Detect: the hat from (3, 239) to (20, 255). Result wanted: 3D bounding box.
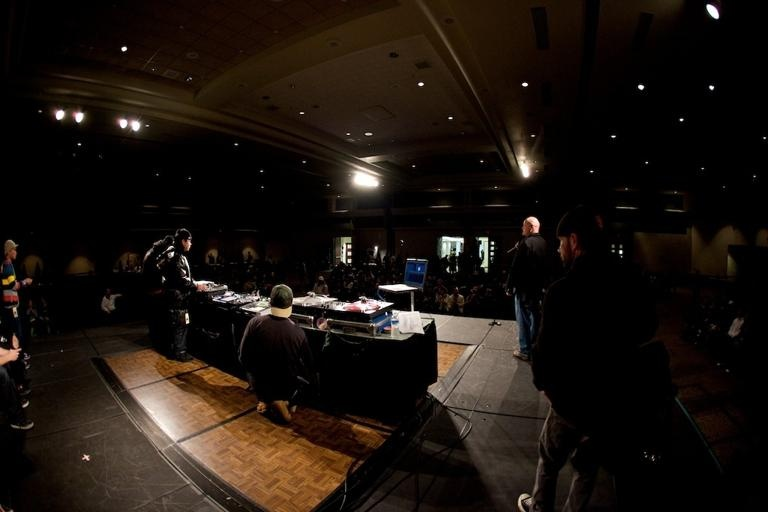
[{"bbox_3d":[-6.777,-0.192,8.660,0.334,0.228,0.370,-4,6,-22],"label":"hat"}]

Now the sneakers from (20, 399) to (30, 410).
[{"bbox_3d":[-5.262,2.168,6.999,0.155,0.115,0.155,-8,-10,-16],"label":"sneakers"}]

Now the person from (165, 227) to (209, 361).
[{"bbox_3d":[-3.536,0.673,8.304,0.590,2.276,0.504,0,0,-25],"label":"person"}]

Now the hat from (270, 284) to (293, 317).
[{"bbox_3d":[-1.432,0.630,6.625,0.293,0.479,0.296,0,0,-16],"label":"hat"}]

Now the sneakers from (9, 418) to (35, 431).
[{"bbox_3d":[-4.981,2.317,6.595,0.277,0.189,0.142,2,2,-22],"label":"sneakers"}]

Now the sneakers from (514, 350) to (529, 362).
[{"bbox_3d":[2.277,1.652,7.890,0.209,0.089,0.103,20,12,35],"label":"sneakers"}]

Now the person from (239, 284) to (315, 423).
[{"bbox_3d":[-1.463,1.373,6.623,1.048,1.936,0.346,0,0,18],"label":"person"}]
